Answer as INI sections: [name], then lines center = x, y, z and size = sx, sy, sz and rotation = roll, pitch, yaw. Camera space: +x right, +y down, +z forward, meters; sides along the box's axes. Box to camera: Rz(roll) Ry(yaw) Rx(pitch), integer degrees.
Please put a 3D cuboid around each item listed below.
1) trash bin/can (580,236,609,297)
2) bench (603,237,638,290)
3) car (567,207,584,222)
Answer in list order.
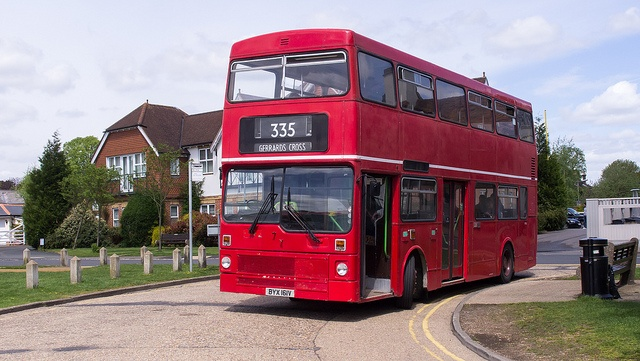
[trash bin/can]
center = 8.879, 2.748, 16.212
size = 0.901, 1.793, 0.660
rotation = -1, 2, 0
[bench]
center = 10.823, 3.016, 18.036
size = 0.818, 1.228, 1.993
rotation = -1, -1, 35
[car]
center = 38.644, 5.062, 75.899
size = 3.309, 1.897, 2.047
rotation = -3, 4, -20
